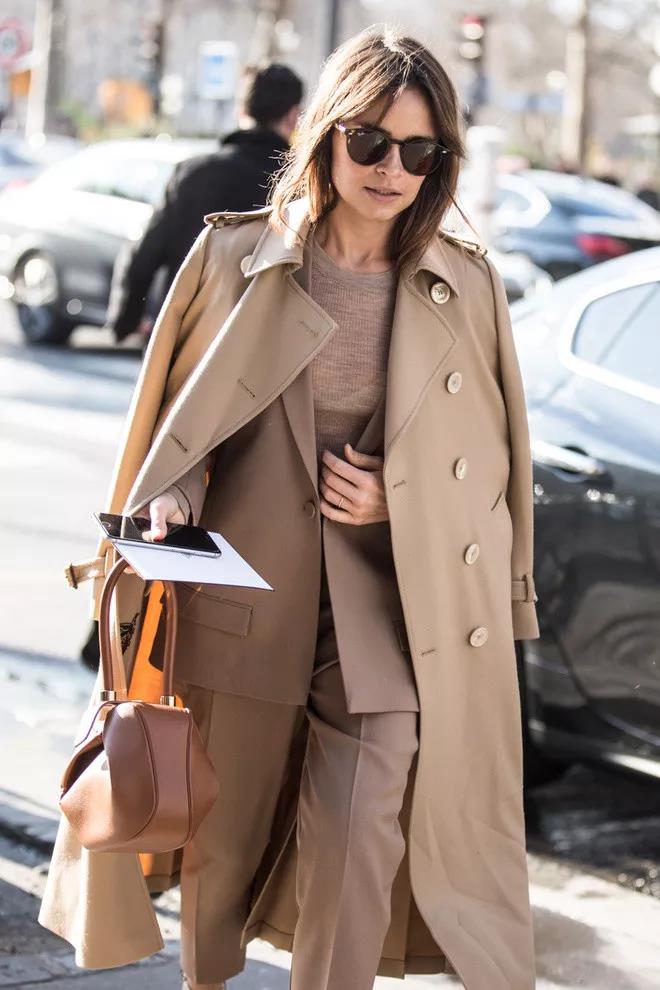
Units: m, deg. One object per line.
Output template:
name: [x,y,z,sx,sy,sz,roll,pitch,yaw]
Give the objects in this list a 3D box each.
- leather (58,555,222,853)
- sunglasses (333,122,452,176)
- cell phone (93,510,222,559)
leather: [-0.280,0.316,1.451,0.215,0.407,0.200,-14,-19,33]
sunglasses: [0.104,-0.630,1.764,0.180,0.089,0.070,2,13,-6]
cell phone: [-0.281,0.065,1.593,0.238,0.022,0.129,6,13,-23]
